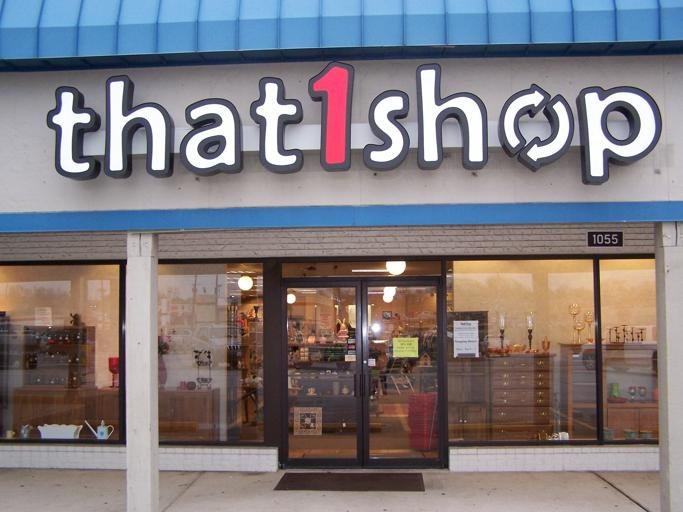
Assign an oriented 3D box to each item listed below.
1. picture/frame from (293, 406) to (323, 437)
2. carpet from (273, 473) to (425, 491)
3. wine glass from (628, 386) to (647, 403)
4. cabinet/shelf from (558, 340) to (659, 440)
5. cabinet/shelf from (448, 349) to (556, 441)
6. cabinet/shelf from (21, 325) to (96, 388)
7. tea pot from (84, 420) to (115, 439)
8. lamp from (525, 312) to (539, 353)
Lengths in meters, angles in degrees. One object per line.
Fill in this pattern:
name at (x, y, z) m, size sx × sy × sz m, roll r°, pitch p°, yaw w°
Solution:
picture/frame at (-0.573, 2.840, 15.304) m, size 0.457 × 0.473 × 0.052 m, roll 0°, pitch -8°, yaw 3°
carpet at (0.128, 3.676, 14.602) m, size 2.350 × 0.247 × 0.778 m, roll -2°, pitch -6°, yaw 1°
wine glass at (4.944, 2.356, 15.244) m, size 0.246 × 0.260 × 0.135 m, roll 0°, pitch 2°, yaw 12°
cabinet/shelf at (4.409, 2.327, 15.193) m, size 1.600 × 1.671 × 0.550 m, roll 1°, pitch -8°, yaw 0°
cabinet/shelf at (2.636, 2.429, 15.243) m, size 1.338 × 1.225 × 0.467 m, roll 0°, pitch -2°, yaw -2°
cabinet/shelf at (-4.851, 1.775, 15.676) m, size 0.953 × 0.988 × 0.331 m, roll -1°, pitch -3°, yaw 3°
tea pot at (-4.155, 2.995, 15.443) m, size 0.529 × 0.339 × 0.109 m, roll -3°, pitch -6°, yaw 16°
lamp at (3.186, 1.293, 15.354) m, size 0.153 × 0.636 × 0.044 m, roll -2°, pitch -6°, yaw 11°
